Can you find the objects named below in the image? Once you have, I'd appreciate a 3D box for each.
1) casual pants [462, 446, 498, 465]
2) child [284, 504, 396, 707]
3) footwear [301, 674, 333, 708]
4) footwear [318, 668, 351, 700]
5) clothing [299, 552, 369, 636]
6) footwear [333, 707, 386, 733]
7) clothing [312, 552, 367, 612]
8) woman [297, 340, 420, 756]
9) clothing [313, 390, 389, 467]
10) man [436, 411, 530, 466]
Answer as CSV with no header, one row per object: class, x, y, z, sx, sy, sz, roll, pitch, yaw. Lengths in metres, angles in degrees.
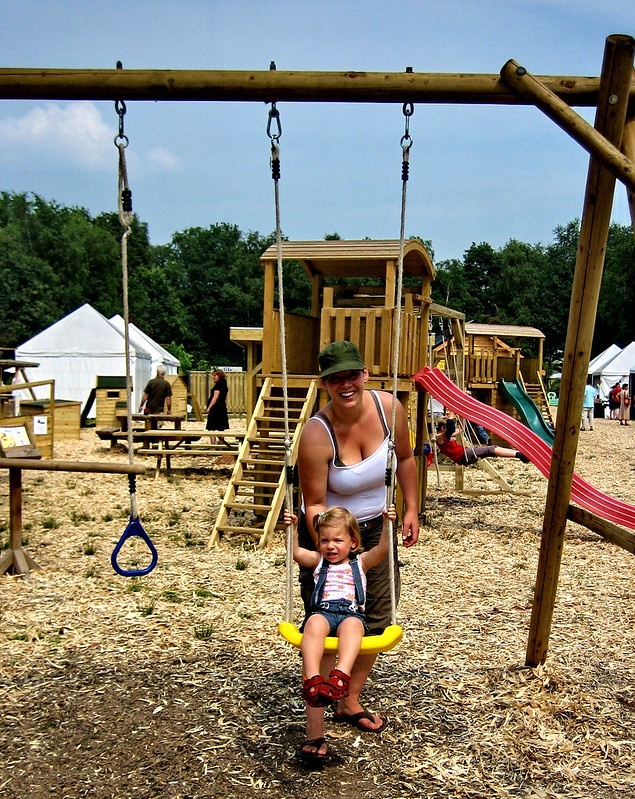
casual pants,1.859,0.652,10.951,0.383,0.148,0.213,-2,-8,-9
child,0.111,0.818,3.912,0.481,0.599,0.862,1,16,6
footwear,-0.002,1.138,3.656,0.076,0.063,0.155,-1,-4,-6
footwear,0.066,1.105,3.629,0.068,0.063,0.152,10,-5,22
clothing,0.092,0.797,4.040,0.255,0.325,0.179,-3,-22,14
footwear,0.200,1.450,4.280,0.197,0.046,0.096,1,7,34
clothing,0.090,0.776,4.035,0.234,0.282,0.168,1,-12,-3
woman,0.163,0.628,4.188,0.661,1.740,0.525,-7,11,-21
clothing,0.156,0.129,4.138,0.350,0.367,0.256,2,-10,-44
man,1.922,0.481,11.073,1.114,0.623,0.526,-3,-1,12
